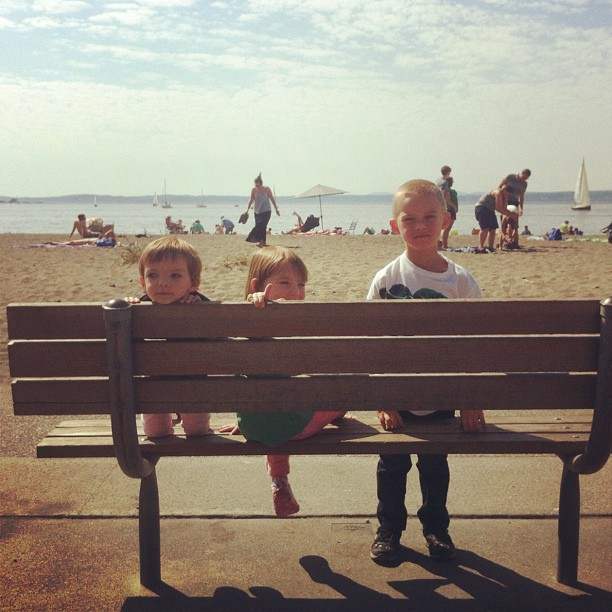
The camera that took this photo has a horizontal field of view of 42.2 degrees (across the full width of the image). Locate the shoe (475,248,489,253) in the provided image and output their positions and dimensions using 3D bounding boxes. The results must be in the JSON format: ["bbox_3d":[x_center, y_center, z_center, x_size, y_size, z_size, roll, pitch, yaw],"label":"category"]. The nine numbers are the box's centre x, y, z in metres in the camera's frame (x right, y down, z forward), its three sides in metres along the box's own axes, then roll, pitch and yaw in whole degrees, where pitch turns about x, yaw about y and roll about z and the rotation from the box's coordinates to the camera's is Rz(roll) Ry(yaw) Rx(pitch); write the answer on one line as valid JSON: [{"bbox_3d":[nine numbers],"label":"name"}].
[{"bbox_3d":[3.486,-1.117,15.744,0.266,0.132,0.419,-2,-2,12],"label":"shoe"}]

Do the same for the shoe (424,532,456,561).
[{"bbox_3d":[0.570,1.032,3.422,0.137,0.104,0.100,-2,-2,22],"label":"shoe"}]

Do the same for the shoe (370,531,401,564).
[{"bbox_3d":[0.343,1.032,3.428,0.114,0.118,0.152,-2,-2,12],"label":"shoe"}]

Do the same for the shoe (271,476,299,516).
[{"bbox_3d":[-0.094,0.761,3.213,0.092,0.159,0.125,-19,23,-1],"label":"shoe"}]

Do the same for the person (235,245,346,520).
[{"bbox_3d":[-0.083,0.298,3.350,0.515,1.051,0.690,-4,-6,18],"label":"person"}]
